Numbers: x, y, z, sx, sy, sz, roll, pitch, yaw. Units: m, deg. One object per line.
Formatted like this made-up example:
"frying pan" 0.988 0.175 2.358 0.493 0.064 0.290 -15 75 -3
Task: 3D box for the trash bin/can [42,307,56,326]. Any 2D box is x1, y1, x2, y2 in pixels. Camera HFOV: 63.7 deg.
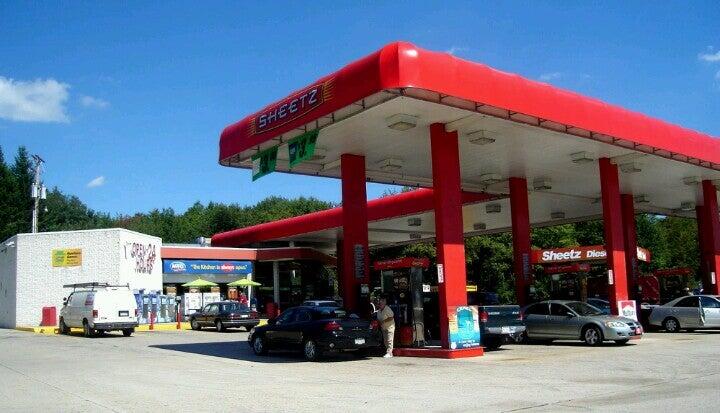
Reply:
"trash bin/can" -21.235 7.539 39.628 0.927 1.296 0.695 -1 -2 -11

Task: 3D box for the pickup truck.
"pickup truck" 4.848 5.690 29.351 3.201 1.992 5.800 4 -7 -33

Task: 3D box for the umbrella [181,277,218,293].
"umbrella" -12.464 6.150 45.496 1.794 0.781 1.825 8 -11 -40

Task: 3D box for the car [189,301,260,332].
"car" -8.895 7.280 38.464 4.868 1.994 1.550 -3 -3 34
